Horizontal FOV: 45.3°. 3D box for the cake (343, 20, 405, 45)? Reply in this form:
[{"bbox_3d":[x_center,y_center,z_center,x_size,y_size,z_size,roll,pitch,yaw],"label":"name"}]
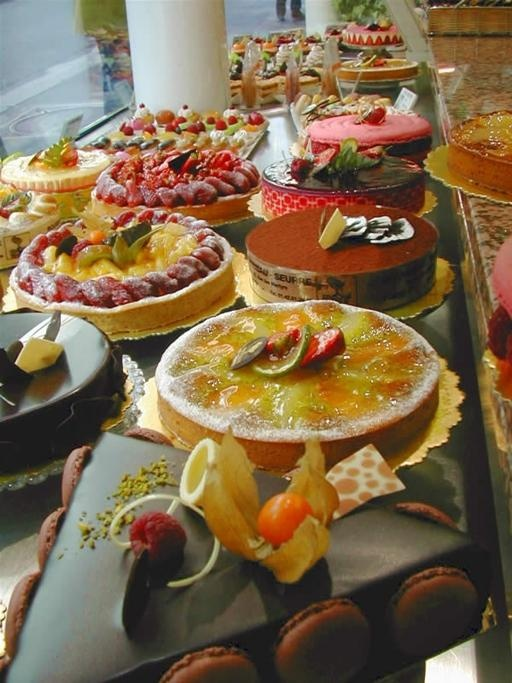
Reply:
[{"bbox_3d":[1.154,-3.059,6.136,0.391,0.259,0.590,-12,22,-11],"label":"cake"}]

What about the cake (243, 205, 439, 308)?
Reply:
[{"bbox_3d":[0.234,-0.237,1.875,0.484,0.100,0.449,8,29,23],"label":"cake"}]

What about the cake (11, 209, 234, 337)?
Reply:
[{"bbox_3d":[-0.476,-0.226,2.016,0.555,0.170,0.541,-27,31,-35],"label":"cake"}]

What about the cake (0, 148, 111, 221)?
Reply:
[{"bbox_3d":[-0.935,-0.724,2.860,0.493,0.159,0.475,17,35,28],"label":"cake"}]

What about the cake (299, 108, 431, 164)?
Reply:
[{"bbox_3d":[0.584,-0.999,2.964,0.519,0.162,0.478,4,29,12],"label":"cake"}]
